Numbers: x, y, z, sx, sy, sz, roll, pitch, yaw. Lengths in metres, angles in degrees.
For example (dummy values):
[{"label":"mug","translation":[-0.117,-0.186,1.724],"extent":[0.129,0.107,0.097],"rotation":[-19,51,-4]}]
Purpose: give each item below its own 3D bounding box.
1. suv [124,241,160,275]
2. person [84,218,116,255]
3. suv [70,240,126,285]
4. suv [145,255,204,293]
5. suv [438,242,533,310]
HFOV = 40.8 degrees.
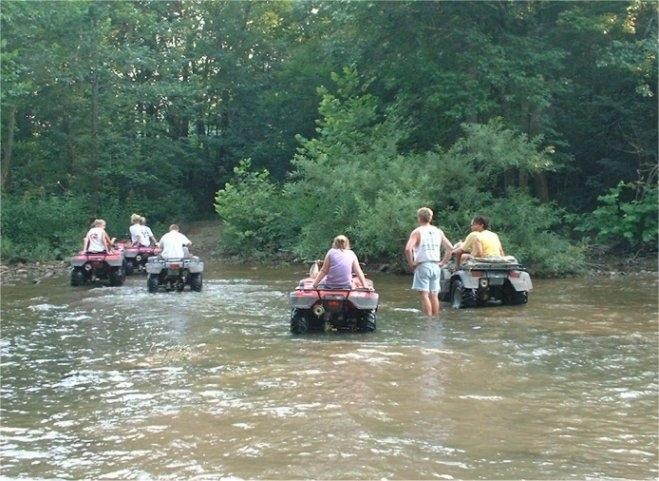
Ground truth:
[{"label":"suv","translation":[-7.445,0.554,36.013],"extent":[1.670,1.321,2.774],"rotation":[-6,3,-15]},{"label":"person","translation":[-8.282,-0.147,31.847],"extent":[1.152,1.262,1.187],"rotation":[-2,13,-36]},{"label":"suv","translation":[-8.299,1.008,32.288],"extent":[1.204,1.175,2.065],"rotation":[-3,-6,-6]},{"label":"suv","translation":[-5.473,0.920,31.260],"extent":[1.864,1.303,2.938],"rotation":[-1,9,-12]},{"label":"suv","translation":[4.900,1.267,27.270],"extent":[1.518,1.194,2.577],"rotation":[-1,4,-3]}]
